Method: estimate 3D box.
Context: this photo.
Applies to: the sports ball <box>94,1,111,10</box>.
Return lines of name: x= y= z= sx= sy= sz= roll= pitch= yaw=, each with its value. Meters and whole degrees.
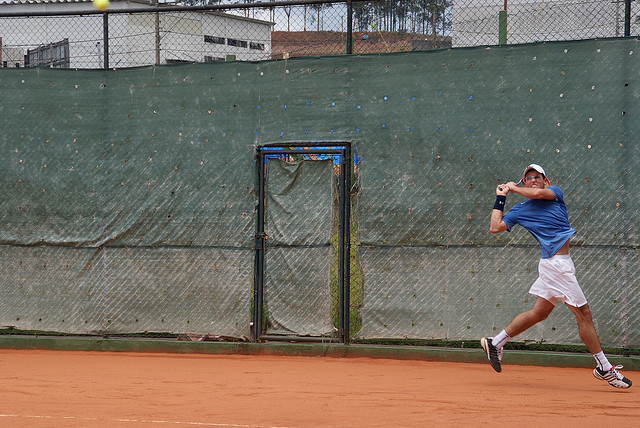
sports ball: x=-3.313 y=-3.211 z=21.329 sx=0.183 sy=0.144 sz=0.151 roll=10 pitch=7 yaw=-1

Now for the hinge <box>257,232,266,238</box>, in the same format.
hinge: x=-0.863 y=0.292 z=20.934 sx=0.122 sy=0.081 sz=0.035 roll=1 pitch=9 yaw=2

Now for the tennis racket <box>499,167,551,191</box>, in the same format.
tennis racket: x=2.920 y=-0.475 z=19.967 sx=0.430 sy=0.159 sz=0.426 roll=-12 pitch=-5 yaw=-8

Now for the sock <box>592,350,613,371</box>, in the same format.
sock: x=3.886 y=1.990 z=19.215 sx=0.289 sy=0.244 sz=0.168 roll=5 pitch=10 yaw=26

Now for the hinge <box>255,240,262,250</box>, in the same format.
hinge: x=-0.909 y=0.443 z=20.937 sx=0.102 sy=0.143 sz=0.019 roll=1 pitch=10 yaw=6

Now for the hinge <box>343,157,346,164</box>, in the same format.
hinge: x=0.370 y=-0.820 z=20.838 sx=0.075 sy=0.094 sz=0.036 roll=3 pitch=1 yaw=4
